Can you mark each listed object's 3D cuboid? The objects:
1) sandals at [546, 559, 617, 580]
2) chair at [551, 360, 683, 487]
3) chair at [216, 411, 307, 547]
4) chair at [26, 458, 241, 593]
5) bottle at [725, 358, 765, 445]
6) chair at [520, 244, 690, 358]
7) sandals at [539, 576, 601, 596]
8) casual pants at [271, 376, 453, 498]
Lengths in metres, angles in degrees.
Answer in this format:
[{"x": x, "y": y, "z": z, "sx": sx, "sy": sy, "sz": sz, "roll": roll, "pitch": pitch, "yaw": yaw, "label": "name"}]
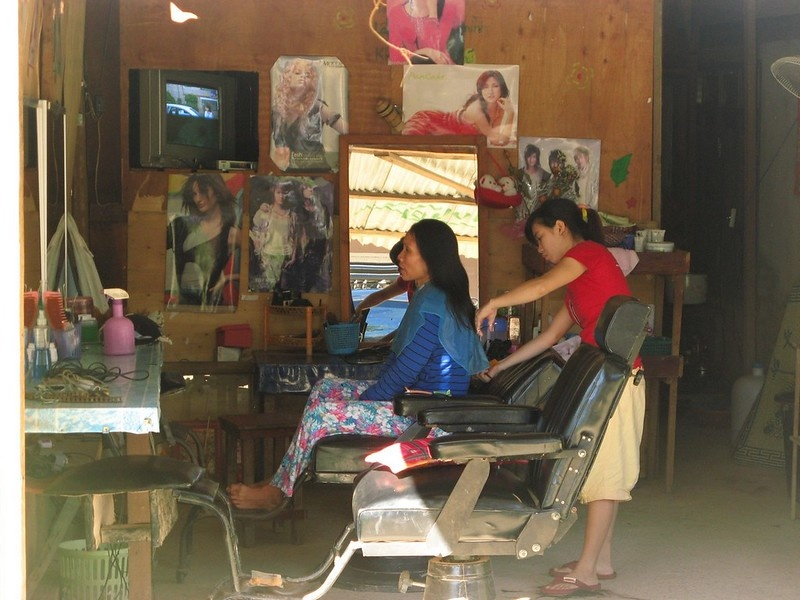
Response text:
[{"x": 0.945, "y": 1.381, "z": 5.114, "sx": 0.297, "sy": 0.087, "sz": 0.135, "roll": 3, "pitch": -5, "yaw": -7, "label": "sandals"}, {"x": 1.517, "y": 0.688, "z": 6.783, "sx": 0.710, "sy": 1.074, "sz": 0.532, "roll": 0, "pitch": 2, "yaw": 11, "label": "chair"}, {"x": -0.870, "y": 0.980, "z": 5.777, "sx": 0.633, "sy": 0.948, "sz": 0.633, "roll": 0, "pitch": -2, "yaw": -20, "label": "chair"}, {"x": -1.085, "y": 0.777, "z": 4.170, "sx": 0.717, "sy": 0.430, "sz": 0.586, "roll": 4, "pitch": 19, "yaw": -4, "label": "chair"}, {"x": 2.452, "y": 0.763, "z": 7.070, "sx": 0.202, "sy": 0.548, "sz": 0.381, "roll": 4, "pitch": 11, "yaw": 20, "label": "bottle"}, {"x": 1.349, "y": -0.155, "z": 6.556, "sx": 0.963, "sy": 1.004, "sz": 0.767, "roll": 0, "pitch": 0, "yaw": 1, "label": "chair"}, {"x": 0.862, "y": 1.426, "z": 4.961, "sx": 0.225, "sy": 0.075, "sz": 0.126, "roll": 3, "pitch": -6, "yaw": 0, "label": "sandals"}, {"x": -0.221, "y": 0.646, "z": 4.930, "sx": 0.672, "sy": 0.644, "sz": 0.545, "roll": 6, "pitch": 6, "yaw": -12, "label": "casual pants"}]
